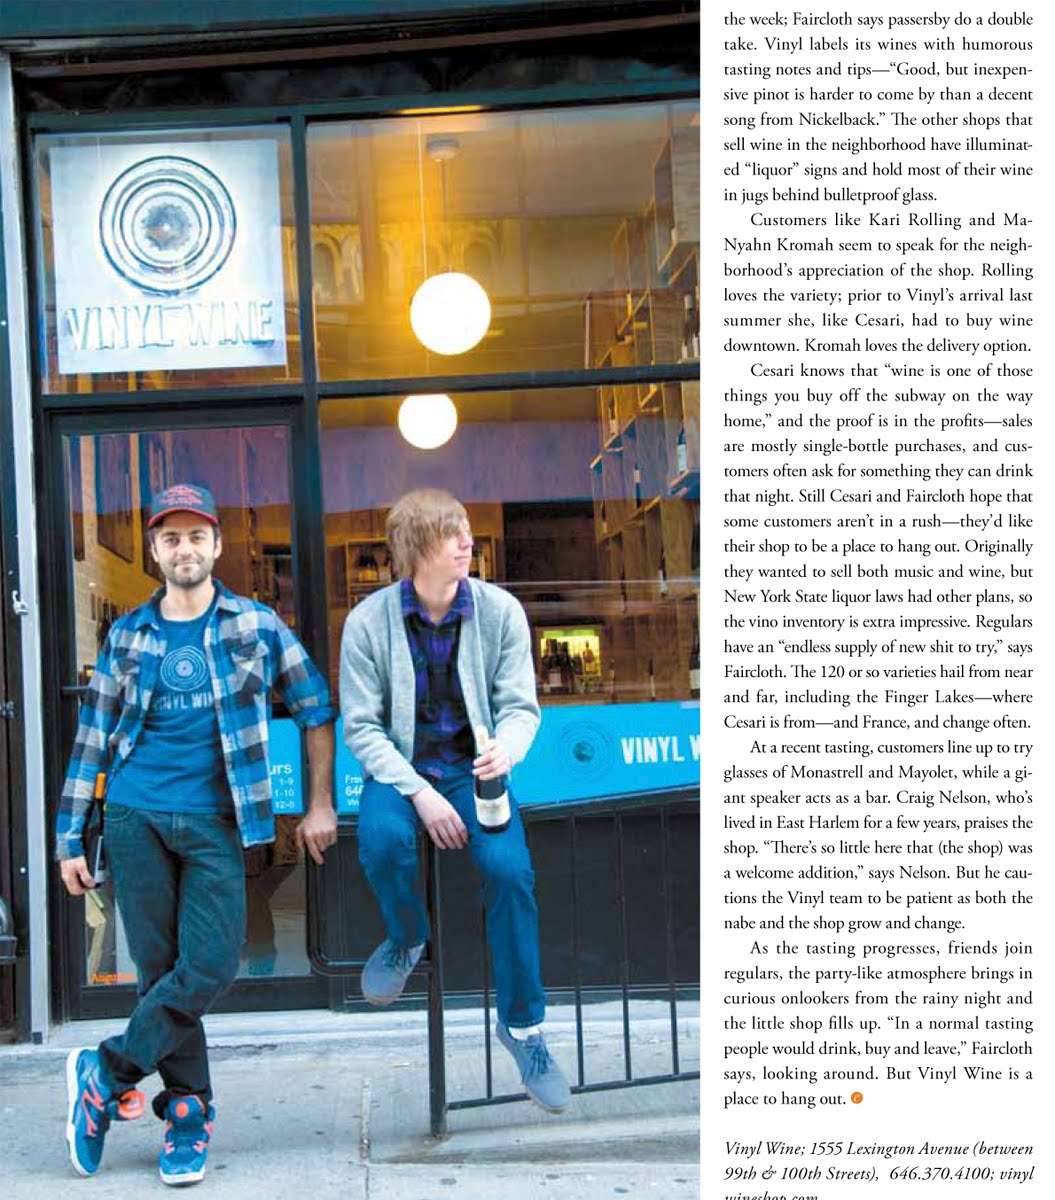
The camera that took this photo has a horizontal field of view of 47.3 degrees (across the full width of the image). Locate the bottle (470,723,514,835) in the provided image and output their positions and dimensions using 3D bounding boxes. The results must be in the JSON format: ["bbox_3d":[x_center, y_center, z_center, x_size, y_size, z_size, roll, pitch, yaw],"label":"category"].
[{"bbox_3d":[-0.092,0.476,3.245,0.105,0.277,0.198,-2,-7,-2],"label":"bottle"}]

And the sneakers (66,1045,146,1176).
[{"bbox_3d":[-1.121,1.360,3.235,0.182,0.305,0.082,0,-7,-16],"label":"sneakers"}]

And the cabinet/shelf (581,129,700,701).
[{"bbox_3d":[0.520,-0.830,5.237,0.502,2.487,0.285,-2,-7,0],"label":"cabinet/shelf"}]

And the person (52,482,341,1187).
[{"bbox_3d":[-0.896,0.604,3.311,0.747,1.840,0.303,-1,-7,-10],"label":"person"}]

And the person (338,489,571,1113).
[{"bbox_3d":[-0.221,0.528,3.333,0.595,1.715,0.409,-3,-7,2],"label":"person"}]

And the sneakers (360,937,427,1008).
[{"bbox_3d":[-0.361,1.013,3.463,0.102,0.110,0.272,29,37,-5],"label":"sneakers"}]

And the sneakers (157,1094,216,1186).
[{"bbox_3d":[-0.894,1.415,3.177,0.115,0.190,0.195,0,-7,-18],"label":"sneakers"}]
